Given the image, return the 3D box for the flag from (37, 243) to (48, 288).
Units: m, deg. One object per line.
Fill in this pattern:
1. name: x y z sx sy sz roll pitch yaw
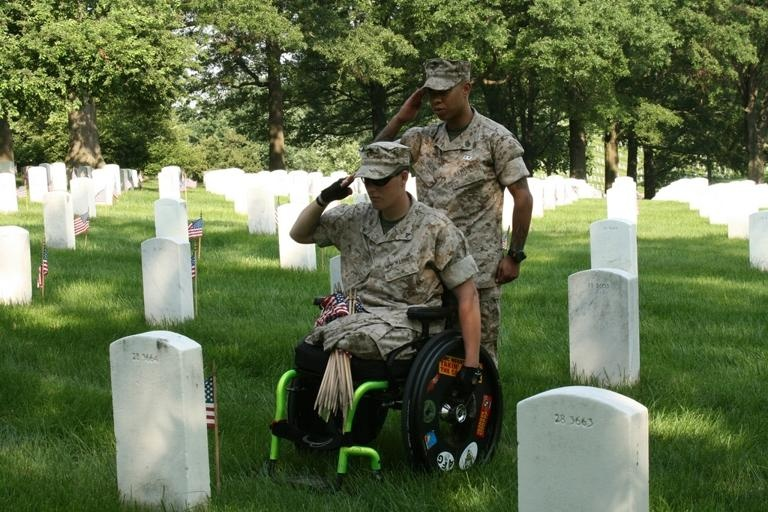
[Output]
1. flag: -9.213 0.228 35.994 0.262 1.320 2.535 1 4 -15

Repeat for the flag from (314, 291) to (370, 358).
1. flag: -1.028 1.209 30.948 0.916 0.823 0.253 -13 -30 15

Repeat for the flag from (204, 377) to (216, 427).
1. flag: -3.995 3.317 30.533 0.325 1.130 0.234 2 4 1

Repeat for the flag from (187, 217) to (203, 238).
1. flag: -5.314 -0.781 37.462 0.664 0.747 0.080 4 6 32

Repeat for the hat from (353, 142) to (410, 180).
1. hat: -0.020 -2.141 30.757 1.108 0.875 1.218 0 16 0
